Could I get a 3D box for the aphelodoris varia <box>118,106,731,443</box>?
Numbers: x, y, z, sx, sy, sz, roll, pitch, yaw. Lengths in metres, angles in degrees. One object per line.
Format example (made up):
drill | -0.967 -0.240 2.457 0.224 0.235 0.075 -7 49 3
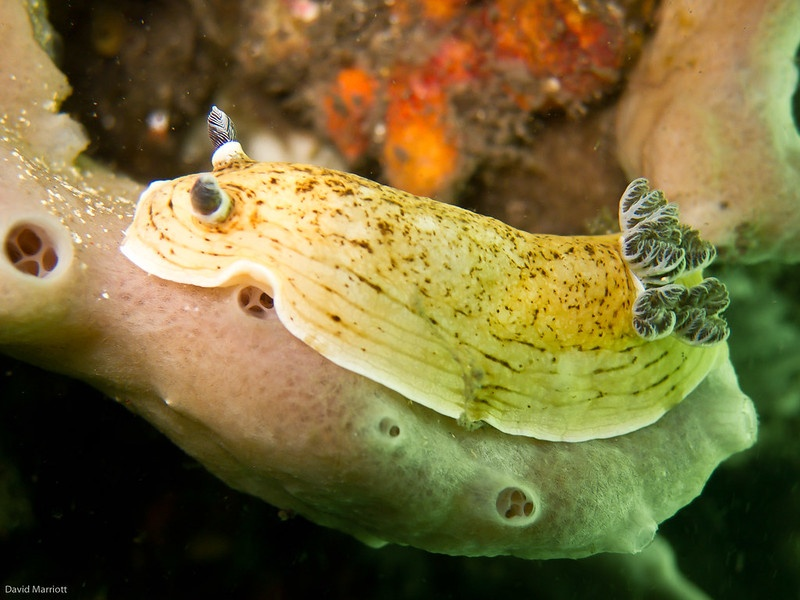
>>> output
aphelodoris varia | 0.232 -0.039 3.788 2.364 0.785 1.046 10 78 1
